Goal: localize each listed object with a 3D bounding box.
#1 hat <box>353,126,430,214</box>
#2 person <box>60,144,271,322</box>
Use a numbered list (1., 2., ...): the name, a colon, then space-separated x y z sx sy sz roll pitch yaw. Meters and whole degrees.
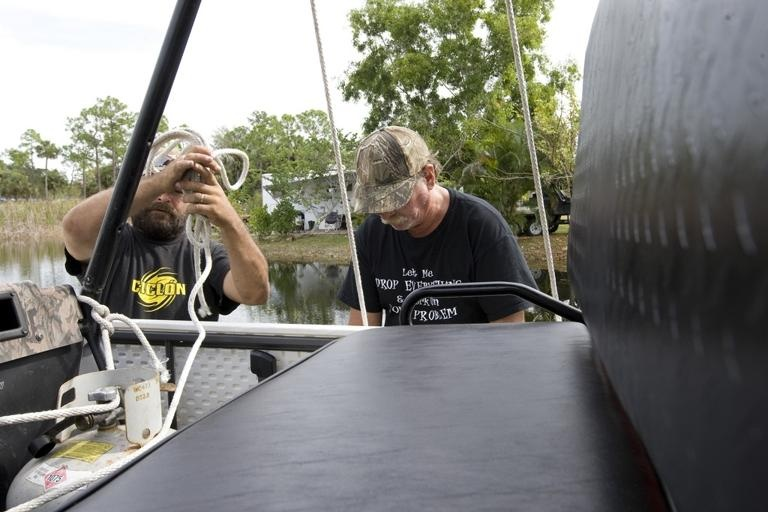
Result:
1. hat: 0.029 -0.321 1.891 0.228 0.202 0.341 -4 35 40
2. person: -0.919 0.073 2.073 0.608 0.914 0.459 -1 0 -28
